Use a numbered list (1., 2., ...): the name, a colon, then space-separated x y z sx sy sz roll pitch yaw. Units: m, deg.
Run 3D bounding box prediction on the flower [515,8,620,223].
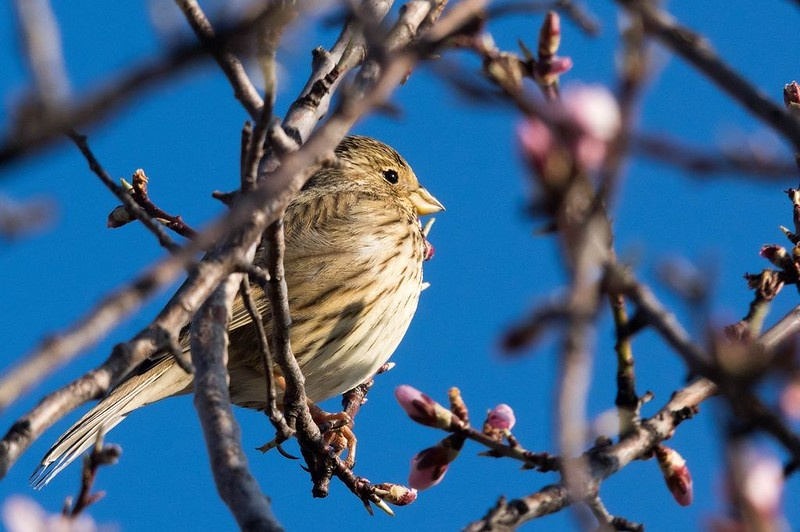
1. flower: 0.419 -0.336 2.610 0.218 0.260 0.707 -4 -94 9
